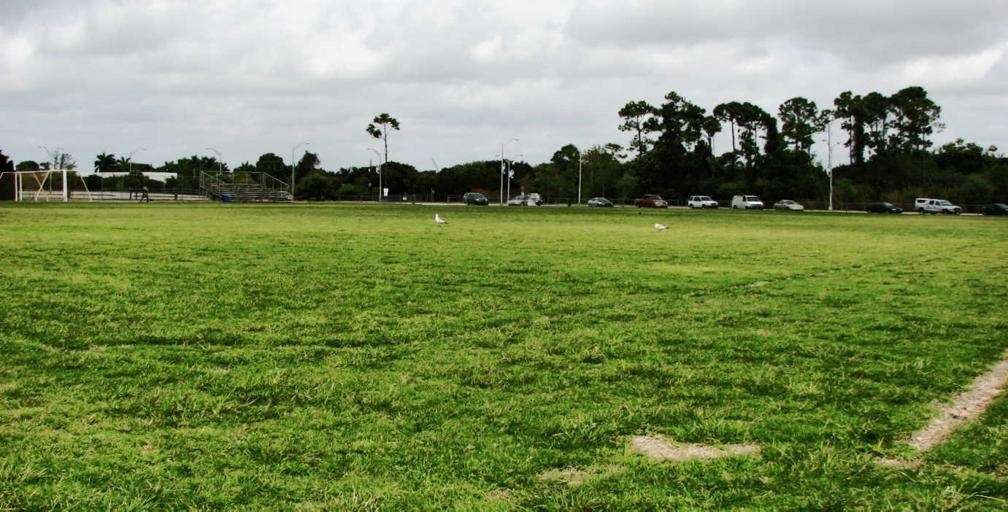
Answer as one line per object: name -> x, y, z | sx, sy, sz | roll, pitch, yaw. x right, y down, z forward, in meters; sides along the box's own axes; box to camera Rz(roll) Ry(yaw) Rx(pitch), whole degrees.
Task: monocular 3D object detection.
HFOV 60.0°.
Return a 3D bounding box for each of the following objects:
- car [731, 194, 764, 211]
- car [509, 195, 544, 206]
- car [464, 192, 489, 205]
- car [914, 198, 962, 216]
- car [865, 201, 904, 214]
car -> 25.444, -5.494, 91.118 | 2.076, 1.295, 3.254 | -2, -1, -19
car -> 2.623, -6.601, 100.554 | 4.462, 1.303, 1.843 | 0, 3, -14
car -> -3.080, -6.302, 94.090 | 2.064, 1.030, 3.129 | 0, -1, -30
car -> 40.166, -4.513, 80.883 | 2.085, 1.337, 3.858 | -1, 0, -21
car -> 36.631, -4.693, 84.523 | 1.282, 0.858, 3.768 | 0, 4, -6
